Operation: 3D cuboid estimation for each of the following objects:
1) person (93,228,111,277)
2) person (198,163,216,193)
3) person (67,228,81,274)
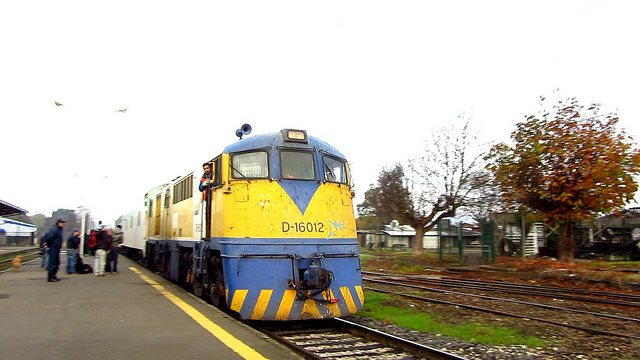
[{"bbox_3d":[-10.255,3.321,15.997,0.671,2.139,1.286,6,-12,-23],"label":"person"},{"bbox_3d":[-3.665,-0.072,11.006,0.723,0.880,0.447,-7,-10,-22],"label":"person"},{"bbox_3d":[-11.567,3.313,15.979,0.534,2.121,1.198,9,-13,-33],"label":"person"}]
